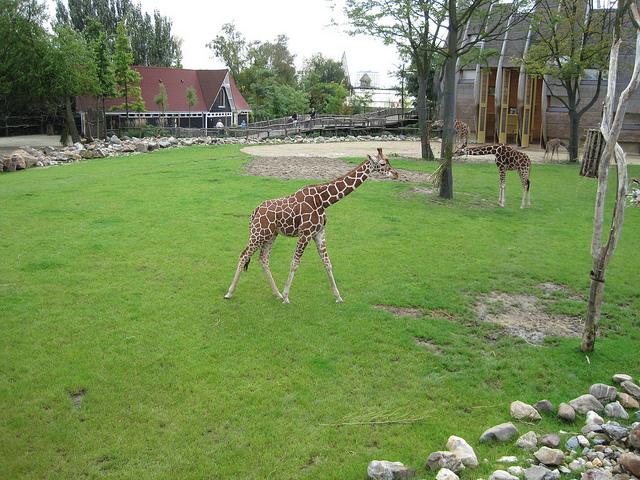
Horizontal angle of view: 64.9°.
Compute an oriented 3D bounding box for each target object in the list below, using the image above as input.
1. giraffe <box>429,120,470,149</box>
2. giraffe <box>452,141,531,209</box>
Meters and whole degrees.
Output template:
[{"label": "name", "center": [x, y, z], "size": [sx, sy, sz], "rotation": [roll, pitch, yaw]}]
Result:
[{"label": "giraffe", "center": [11.177, -9.194, 41.780], "size": [2.768, 1.594, 0.561], "rotation": [26, 8, -21]}, {"label": "giraffe", "center": [7.565, -2.634, 20.691], "size": [2.345, 2.571, 1.329], "rotation": [2, 15, 12]}]
